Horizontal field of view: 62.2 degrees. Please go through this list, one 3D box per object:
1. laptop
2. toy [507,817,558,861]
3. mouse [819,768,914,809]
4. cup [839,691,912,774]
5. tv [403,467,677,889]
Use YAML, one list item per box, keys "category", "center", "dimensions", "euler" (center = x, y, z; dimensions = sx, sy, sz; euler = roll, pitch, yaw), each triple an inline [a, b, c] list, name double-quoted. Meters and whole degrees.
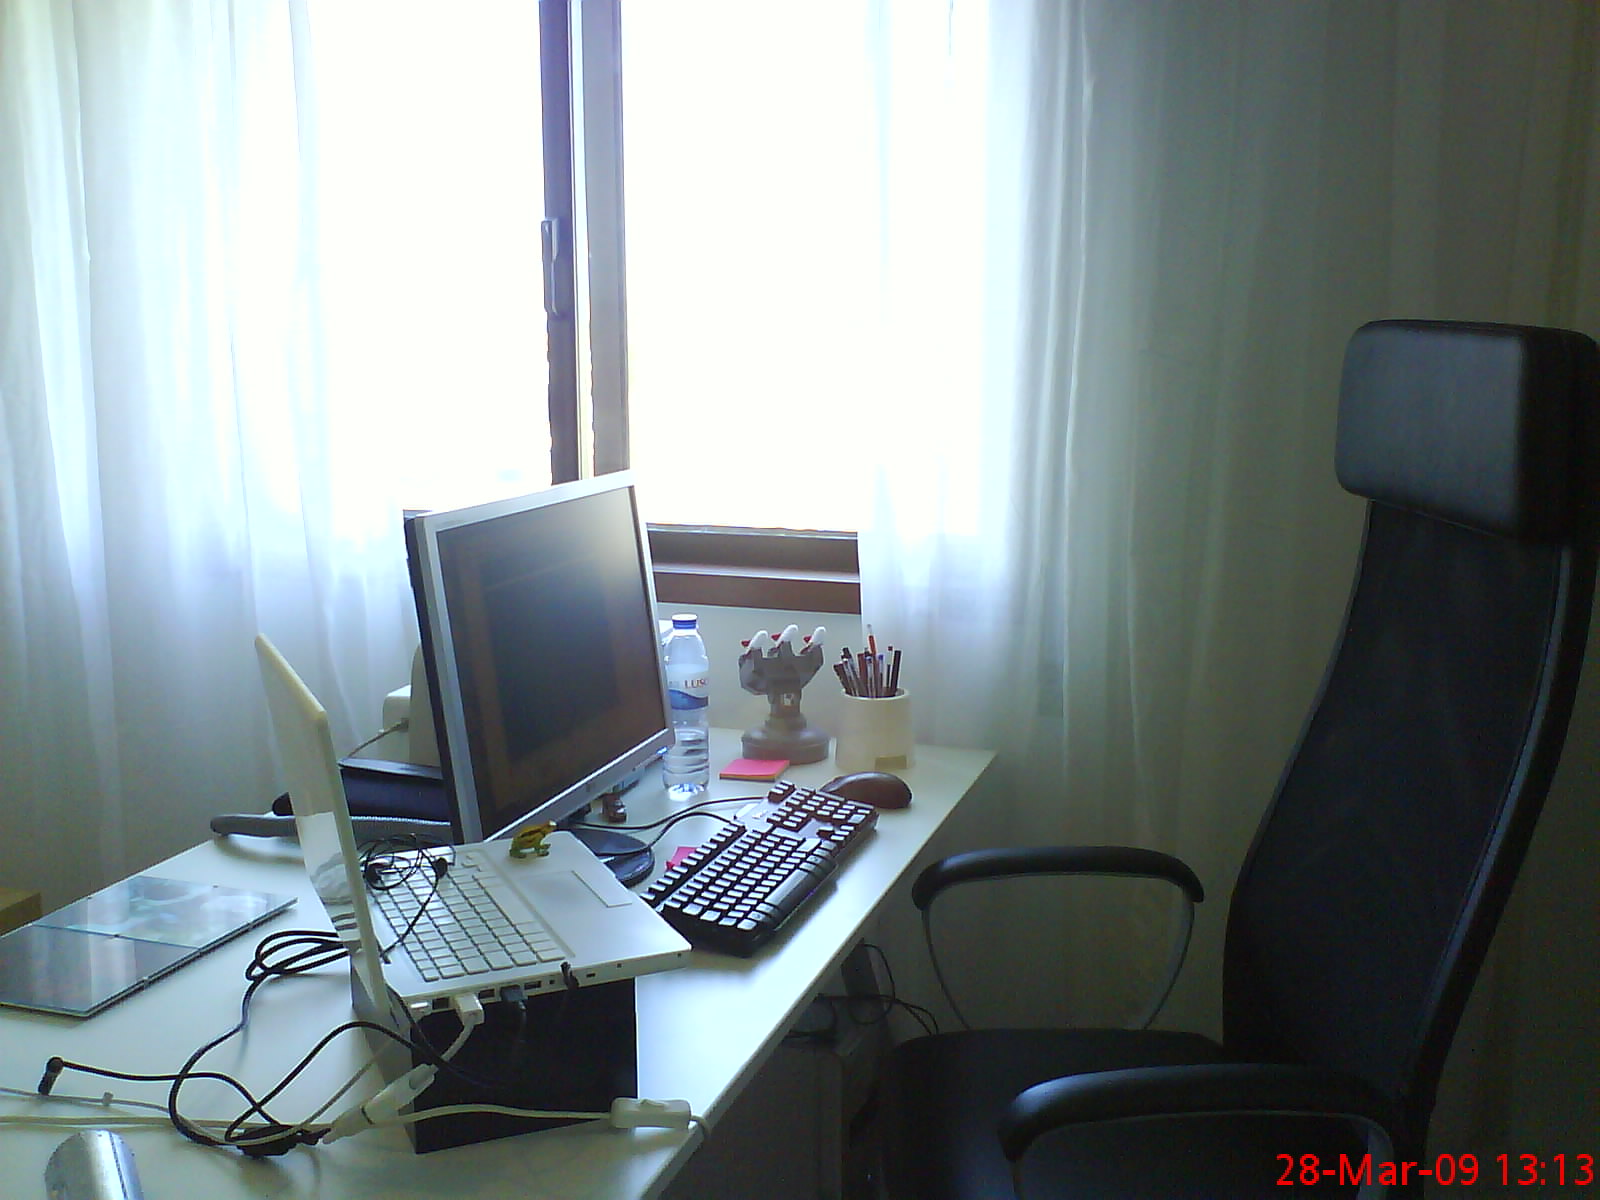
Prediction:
- category: "laptop"
  center: [-0.385, 0.142, 1.567]
  dimensions: [0.428, 0.400, 0.519]
  euler: [-5, 13, -26]
- category: "toy"
  center: [-0.365, 0.320, 1.767]
  dimensions: [0.038, 0.050, 0.025]
  euler: [1, 54, -37]
- category: "mouse"
  center: [0.116, 0.304, 2.205]
  dimensions: [0.109, 0.038, 0.065]
  euler: [8, 3, 0]
- category: "cup"
  center: [0.138, 0.230, 2.397]
  dimensions: [0.135, 0.140, 0.141]
  euler: [-2, 12, 0]
- category: "tv"
  center: [-0.377, 0.138, 1.946]
  dimensions: [0.063, 0.472, 0.619]
  euler: [-12, 3, 21]
